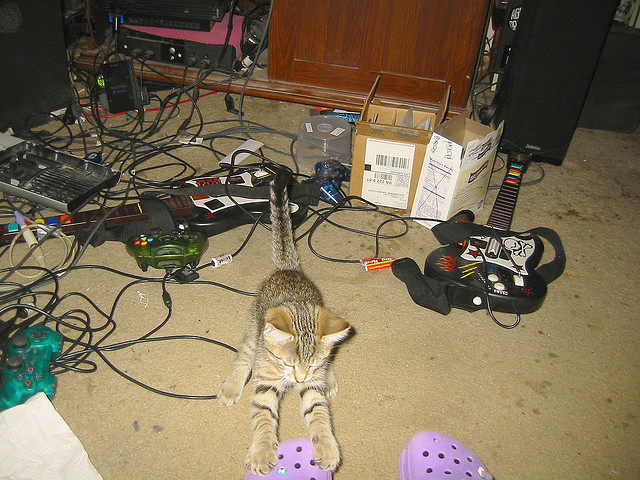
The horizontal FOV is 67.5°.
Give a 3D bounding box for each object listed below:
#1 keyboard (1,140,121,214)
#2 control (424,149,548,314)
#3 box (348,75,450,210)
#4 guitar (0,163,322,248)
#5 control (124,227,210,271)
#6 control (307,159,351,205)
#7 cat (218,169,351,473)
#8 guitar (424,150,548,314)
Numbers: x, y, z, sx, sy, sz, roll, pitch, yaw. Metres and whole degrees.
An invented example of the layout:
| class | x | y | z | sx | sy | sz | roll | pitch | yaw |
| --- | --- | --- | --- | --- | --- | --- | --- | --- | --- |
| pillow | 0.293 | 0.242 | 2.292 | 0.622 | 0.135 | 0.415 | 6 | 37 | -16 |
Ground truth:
| class | x | y | z | sx | sy | sz | roll | pitch | yaw |
| --- | --- | --- | --- | --- | --- | --- | --- | --- | --- |
| keyboard | -1.004 | -0.241 | 1.799 | 0.468 | 0.077 | 0.289 | 19 | 38 | 5 |
| control | 0.699 | -0.078 | 1.810 | 0.327 | 0.083 | 0.630 | 12 | 38 | 19 |
| box | 0.341 | -0.400 | 2.016 | 0.393 | 0.559 | 0.412 | 16 | 45 | 3 |
| guitar | -0.475 | -0.108 | 1.819 | 1.224 | 0.136 | 0.360 | -3 | 44 | -15 |
| control | -0.541 | 0.029 | 1.738 | 0.293 | 0.102 | 0.306 | -11 | 25 | -23 |
| control | 0.054 | -0.234 | 2.061 | 0.203 | 0.056 | 0.187 | 25 | 59 | 8 |
| cat | -0.108 | 0.250 | 1.409 | 0.290 | 0.336 | 0.732 | 5 | 39 | -11 |
| guitar | 0.597 | -0.017 | 1.941 | 0.437 | 0.107 | 0.845 | 8 | 34 | 6 |
